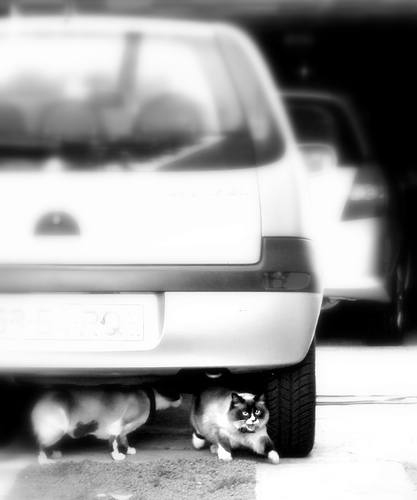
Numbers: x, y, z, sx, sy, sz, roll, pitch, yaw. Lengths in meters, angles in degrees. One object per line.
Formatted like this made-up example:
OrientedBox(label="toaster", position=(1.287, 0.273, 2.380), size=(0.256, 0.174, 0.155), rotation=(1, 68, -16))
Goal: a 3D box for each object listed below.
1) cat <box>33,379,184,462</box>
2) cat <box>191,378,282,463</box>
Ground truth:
OrientedBox(label="cat", position=(-0.382, 0.606, 2.259), size=(0.645, 0.165, 0.295), rotation=(7, 73, -30))
OrientedBox(label="cat", position=(0.096, 0.655, 2.325), size=(0.221, 0.503, 0.236), rotation=(3, 83, -24))
